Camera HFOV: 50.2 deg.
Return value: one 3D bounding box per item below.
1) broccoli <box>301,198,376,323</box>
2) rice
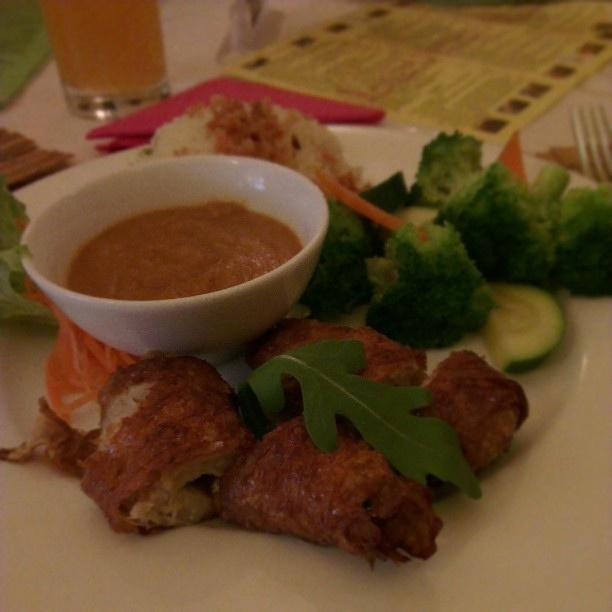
[{"bbox_3d":[0.102,-0.128,1.877,0.312,0.092,0.292,-2,84,-5],"label":"broccoli"},{"bbox_3d":[-0.166,-0.480,2.190,0.453,0.126,0.387,-2,30,-27],"label":"rice"}]
